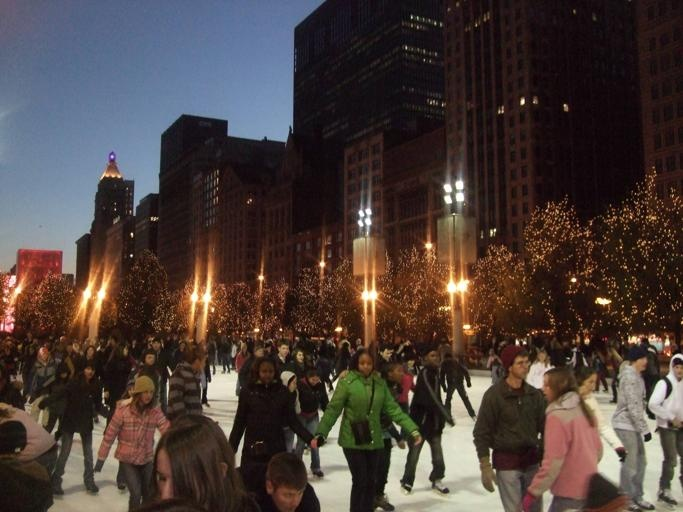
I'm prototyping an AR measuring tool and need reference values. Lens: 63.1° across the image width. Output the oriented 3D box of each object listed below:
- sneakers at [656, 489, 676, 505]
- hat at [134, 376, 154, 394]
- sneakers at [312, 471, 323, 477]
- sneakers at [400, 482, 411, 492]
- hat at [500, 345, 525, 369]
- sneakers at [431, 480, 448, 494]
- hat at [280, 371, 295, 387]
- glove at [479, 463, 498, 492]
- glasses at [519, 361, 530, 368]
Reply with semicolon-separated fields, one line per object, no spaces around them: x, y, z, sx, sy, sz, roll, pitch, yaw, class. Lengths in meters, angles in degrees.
5.487;4.078;9.335;0.273;0.266;0.293;-3;-15;11;sneakers
-3.018;1.974;8.458;0.260;0.223;0.277;-1;-7;-18;hat
-0.491;4.405;11.200;0.200;0.093;0.091;-4;-13;42;sneakers
1.178;4.289;10.218;0.185;0.173;0.175;-4;-16;16;sneakers
2.178;1.250;7.087;0.285;0.292;0.271;-22;-10;36;hat
1.843;4.304;10.297;0.235;0.209;0.388;6;-17;-19;sneakers
-1.029;2.352;10.655;0.259;0.279;0.277;1;-15;-5;hat
1.755;2.675;6.690;0.156;0.349;0.408;-3;-16;13;glove
2.349;1.387;7.087;0.099;0.082;0.139;-2;-18;8;glasses
